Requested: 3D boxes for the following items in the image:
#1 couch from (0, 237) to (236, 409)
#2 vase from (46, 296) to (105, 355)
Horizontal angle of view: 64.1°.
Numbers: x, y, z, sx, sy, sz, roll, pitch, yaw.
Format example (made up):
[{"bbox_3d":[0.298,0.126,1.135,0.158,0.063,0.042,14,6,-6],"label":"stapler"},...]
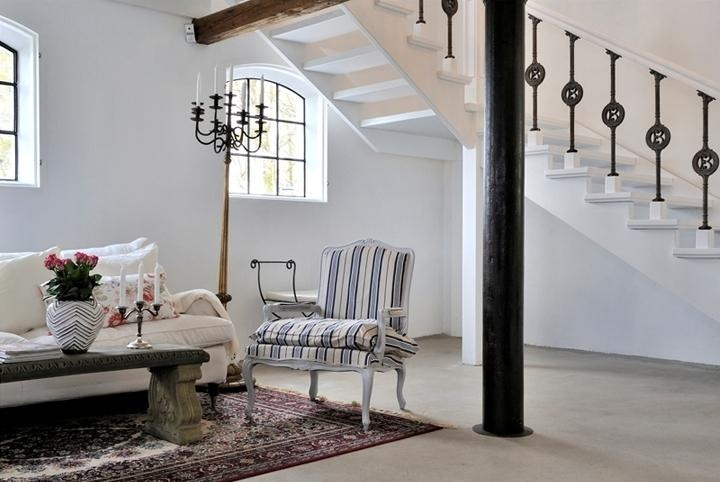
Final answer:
[{"bbox_3d":[-2.087,0.635,4.772,1.177,1.338,2.028,-2,-4,45],"label":"couch"},{"bbox_3d":[-1.947,0.588,4.034,0.407,0.411,0.419,2,-8,8],"label":"vase"}]
